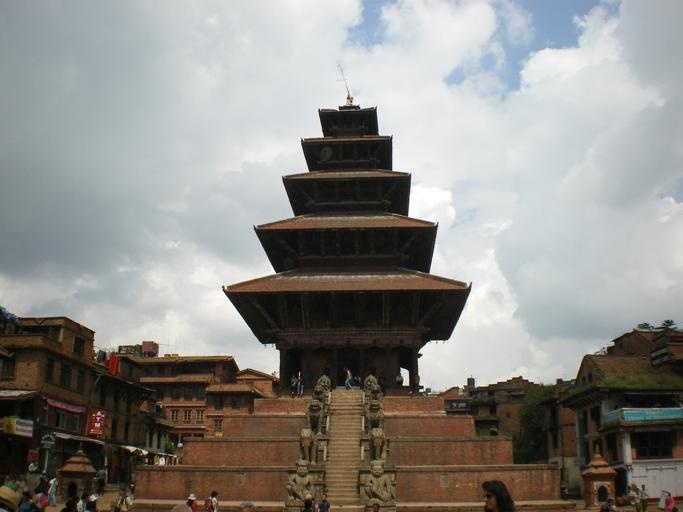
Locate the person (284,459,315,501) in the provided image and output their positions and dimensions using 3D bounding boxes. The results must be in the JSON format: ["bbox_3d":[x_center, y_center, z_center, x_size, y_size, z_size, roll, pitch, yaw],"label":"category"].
[{"bbox_3d":[-1.850,10.322,38.686,1.266,1.870,1.023,-5,-20,13],"label":"person"}]
